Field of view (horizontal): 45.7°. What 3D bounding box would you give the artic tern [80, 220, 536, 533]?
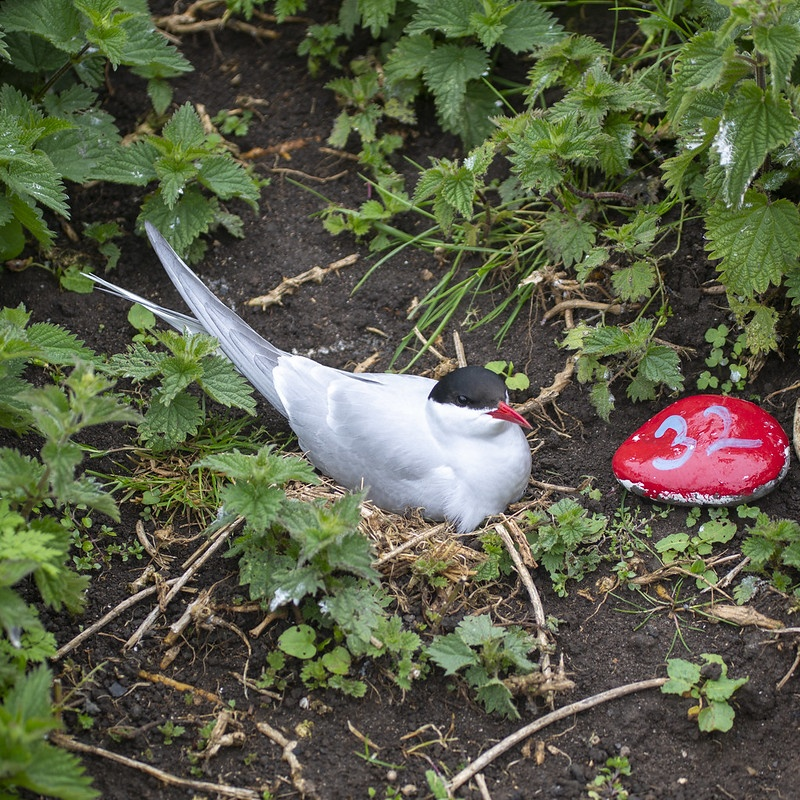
[{"bbox_3d":[-0.400,-0.073,4.293,1.892,0.743,0.579,26,44,4],"label":"artic tern"}]
